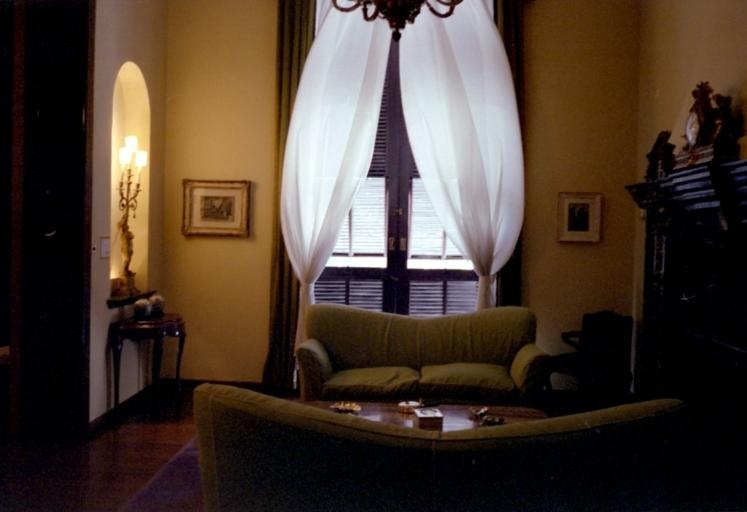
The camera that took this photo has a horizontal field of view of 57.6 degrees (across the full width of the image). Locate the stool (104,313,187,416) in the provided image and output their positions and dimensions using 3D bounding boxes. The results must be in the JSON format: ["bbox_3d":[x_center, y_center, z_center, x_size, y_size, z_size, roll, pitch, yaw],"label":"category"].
[{"bbox_3d":[-1.930,0.875,5.827,0.636,0.712,0.398,-7,15,-23],"label":"stool"}]

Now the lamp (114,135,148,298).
[{"bbox_3d":[-2.102,-0.364,5.981,0.306,1.341,0.698,-5,15,-16],"label":"lamp"}]

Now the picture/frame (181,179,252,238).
[{"bbox_3d":[-1.478,-0.457,6.421,0.501,0.482,0.058,0,0,1],"label":"picture/frame"}]

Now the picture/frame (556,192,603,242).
[{"bbox_3d":[1.924,-0.365,6.297,0.412,0.508,0.052,0,-1,1],"label":"picture/frame"}]
